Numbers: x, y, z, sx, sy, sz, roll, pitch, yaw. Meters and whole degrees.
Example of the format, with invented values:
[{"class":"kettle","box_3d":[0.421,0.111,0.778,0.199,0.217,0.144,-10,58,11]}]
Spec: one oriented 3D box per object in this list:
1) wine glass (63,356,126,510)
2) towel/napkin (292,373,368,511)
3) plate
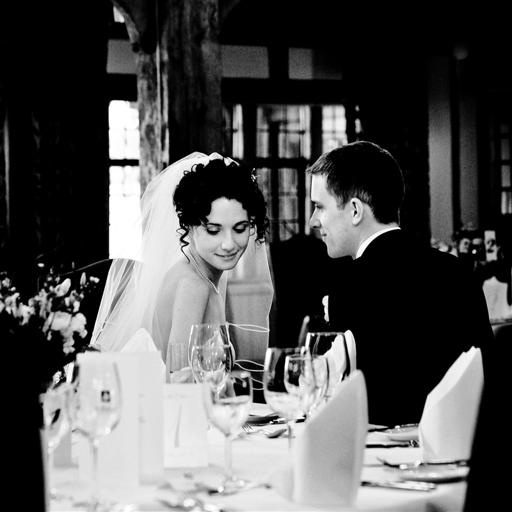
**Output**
[{"class":"wine glass","box_3d":[-0.403,0.425,2.207,0.124,0.357,0.242,1,1,-19]},{"class":"towel/napkin","box_3d":[0.172,0.424,2.043,0.161,0.298,0.083,1,1,-7]},{"class":"plate","box_3d":[0.429,0.541,2.299,0.224,0.047,0.232,1,1,10]}]
